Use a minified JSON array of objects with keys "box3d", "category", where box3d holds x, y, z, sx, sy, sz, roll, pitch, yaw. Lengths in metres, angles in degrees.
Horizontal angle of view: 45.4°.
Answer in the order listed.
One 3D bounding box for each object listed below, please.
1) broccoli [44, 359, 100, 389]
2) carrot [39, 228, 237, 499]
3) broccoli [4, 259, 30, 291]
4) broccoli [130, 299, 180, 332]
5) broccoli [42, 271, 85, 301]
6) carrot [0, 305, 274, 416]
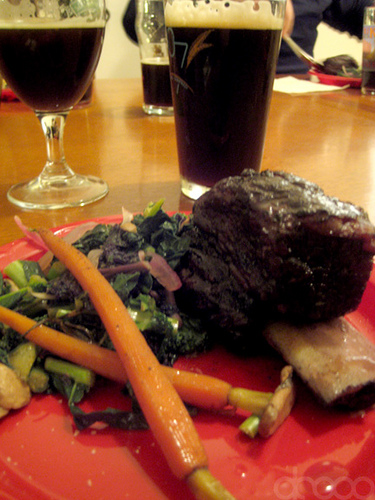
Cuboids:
[{"box3d":[-0.194,0.210,0.748,0.106,0.028,0.035,11,47,30],"category":"broccoli"},{"box3d":[-0.092,0.116,0.672,0.111,0.053,0.646,-13,38,-16],"category":"carrot"},{"box3d":[-0.341,0.051,0.914,0.039,0.026,0.067,-32,59,-12],"category":"broccoli"},{"box3d":[-0.056,0.127,0.820,0.081,0.031,0.050,20,42,-21],"category":"broccoli"},{"box3d":[-0.234,0.066,0.857,0.069,0.025,0.068,-17,50,-25],"category":"broccoli"},{"box3d":[-0.086,0.189,0.749,0.346,0.058,0.045,18,46,21],"category":"carrot"}]
